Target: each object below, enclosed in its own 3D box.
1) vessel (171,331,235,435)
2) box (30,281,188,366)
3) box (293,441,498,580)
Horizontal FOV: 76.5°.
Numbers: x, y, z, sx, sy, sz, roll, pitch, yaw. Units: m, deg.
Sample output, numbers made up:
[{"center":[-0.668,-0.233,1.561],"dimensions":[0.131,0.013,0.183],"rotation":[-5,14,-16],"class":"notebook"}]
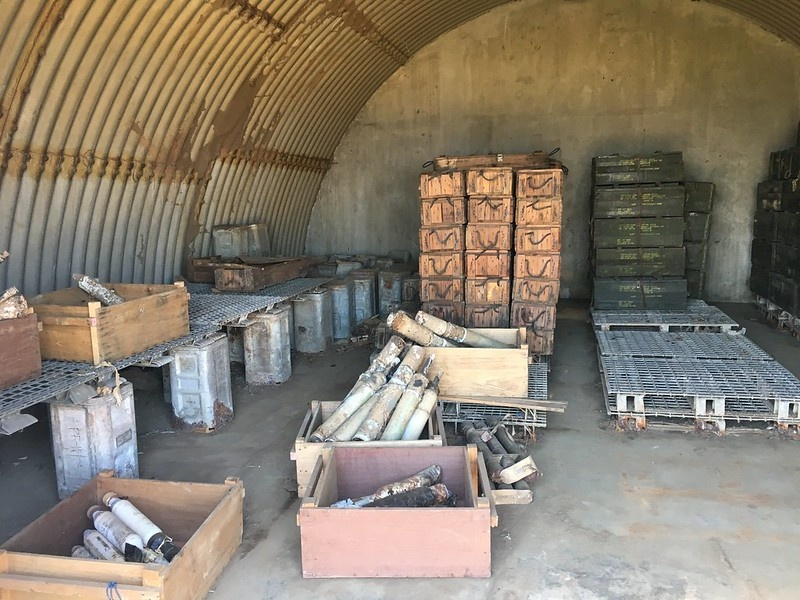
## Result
[{"center":[-2.609,1.160,6.757],"dimensions":[0.731,1.237,0.427],"rotation":[-3,7,-19],"class":"vessel"},{"center":[-3.412,0.226,6.040],"dimensions":[1.168,0.790,1.579],"rotation":[1,5,15],"class":"box"},{"center":[-0.065,1.805,4.402],"dimensions":[1.653,0.543,1.059],"rotation":[1,14,1],"class":"box"}]
